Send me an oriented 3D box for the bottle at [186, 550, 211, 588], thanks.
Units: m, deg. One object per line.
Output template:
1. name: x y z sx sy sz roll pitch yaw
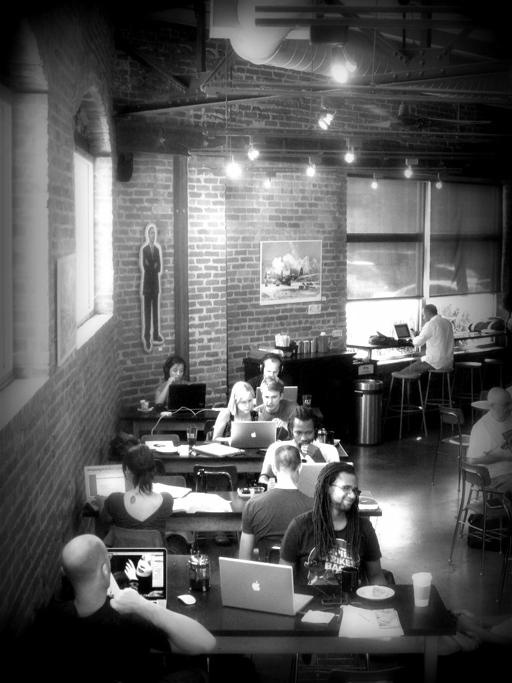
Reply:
1. bottle: -0.253 1.032 2.882 0.067 0.179 0.146 1 7 2

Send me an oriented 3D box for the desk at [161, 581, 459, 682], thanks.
1. desk: 0.278 1.278 2.604 1.105 0.430 0.403 1 5 0

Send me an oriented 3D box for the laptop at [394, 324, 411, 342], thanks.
1. laptop: 2.603 -0.164 11.294 0.247 0.271 0.564 4 7 29

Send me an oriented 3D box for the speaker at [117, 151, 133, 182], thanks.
1. speaker: -1.592 -2.127 7.699 0.160 0.360 0.613 0 6 -7

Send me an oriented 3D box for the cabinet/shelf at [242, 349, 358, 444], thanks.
1. cabinet/shelf: 0.533 0.672 7.989 0.949 1.266 0.411 -3 4 -34

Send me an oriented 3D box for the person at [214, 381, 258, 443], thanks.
1. person: -0.212 0.735 6.576 0.292 0.968 0.288 -5 22 -28

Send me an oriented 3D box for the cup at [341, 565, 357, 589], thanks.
1. cup: 0.398 1.000 2.722 0.061 0.100 0.072 0 -3 -19

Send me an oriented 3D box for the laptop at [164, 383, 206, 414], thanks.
1. laptop: -0.812 0.647 7.424 0.342 0.371 0.359 0 1 -8

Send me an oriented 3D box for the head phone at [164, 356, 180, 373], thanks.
1. head phone: -1.058 0.300 8.024 0.140 0.257 0.203 0 -3 -14

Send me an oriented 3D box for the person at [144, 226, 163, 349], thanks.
1. person: -1.380 -0.706 8.300 0.098 1.640 0.406 3 5 30

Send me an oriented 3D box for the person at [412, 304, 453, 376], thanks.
1. person: 3.030 0.011 10.956 0.625 1.552 0.718 -10 14 -21
